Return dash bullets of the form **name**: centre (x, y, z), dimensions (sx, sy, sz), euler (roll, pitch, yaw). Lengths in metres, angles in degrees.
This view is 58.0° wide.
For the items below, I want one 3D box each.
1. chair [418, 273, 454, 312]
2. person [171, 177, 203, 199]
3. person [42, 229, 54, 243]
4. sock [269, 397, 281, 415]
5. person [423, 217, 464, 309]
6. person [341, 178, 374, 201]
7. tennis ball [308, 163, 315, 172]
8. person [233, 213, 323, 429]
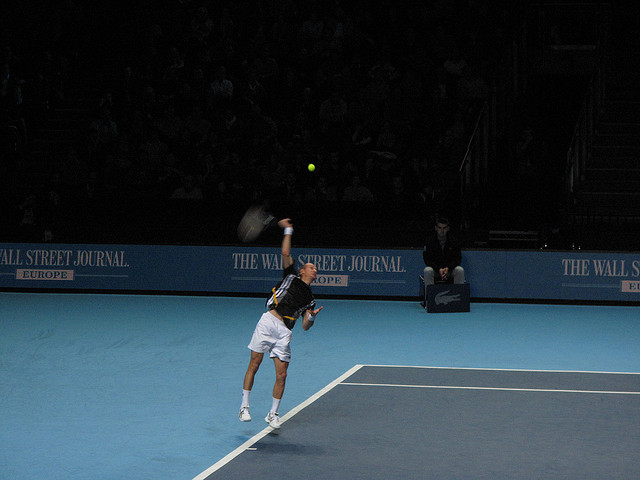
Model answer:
- **chair**: centre (2.924, 1.263, 14.047), dimensions (0.722, 1.077, 0.760), euler (-1, -5, 1)
- **person**: centre (-4.276, -1.860, 18.614), dimensions (1.055, 0.964, 0.607), euler (1, -9, -4)
- **person**: centre (-7.671, -0.109, 16.176), dimensions (0.271, 0.300, 1.777), euler (-1, 3, -27)
- **sock**: centre (-0.457, 1.690, 5.909), dimensions (0.091, 0.213, 0.261), euler (0, 3, -2)
- **person**: centre (2.932, 0.524, 13.417), dimensions (0.933, 2.040, 0.981), euler (1, 4, 5)
- **person**: centre (1.221, -1.819, 18.372), dimensions (1.148, 1.058, 0.624), euler (0, 2, 11)
- **tennis ball**: centre (-0.243, -2.350, 18.855), dimensions (0.196, 0.214, 0.203), euler (7, -4, 1)
- **person**: centre (-0.390, 0.857, 6.115), dimensions (0.687, 2.342, 0.643), euler (16, -36, 3)
